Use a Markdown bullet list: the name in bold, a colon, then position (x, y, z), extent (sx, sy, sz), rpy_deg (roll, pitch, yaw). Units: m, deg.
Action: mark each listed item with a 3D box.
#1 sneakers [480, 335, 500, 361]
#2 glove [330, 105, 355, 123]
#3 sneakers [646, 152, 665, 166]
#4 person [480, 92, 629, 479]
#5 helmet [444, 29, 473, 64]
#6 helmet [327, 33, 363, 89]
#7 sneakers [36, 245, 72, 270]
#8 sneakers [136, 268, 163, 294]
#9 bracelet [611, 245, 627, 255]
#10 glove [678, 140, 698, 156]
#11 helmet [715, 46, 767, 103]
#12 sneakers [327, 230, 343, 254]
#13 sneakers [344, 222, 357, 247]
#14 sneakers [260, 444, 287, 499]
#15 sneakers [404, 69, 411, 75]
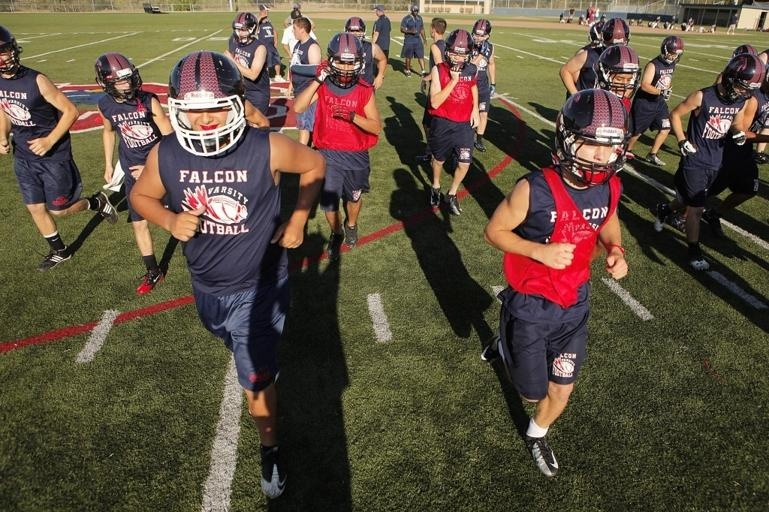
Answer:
- **sneakers**: position (1.156, 1.030, 5.298), extent (0.130, 0.166, 0.373), rpy_deg (3, 4, 13)
- **glove**: position (-0.522, -1.853, 6.297), extent (0.154, 0.184, 0.400), rpy_deg (-18, 36, -30)
- **sneakers**: position (5.606, -2.007, 9.942), extent (0.109, 0.216, 0.304), rpy_deg (-34, 57, -16)
- **person**: position (1.521, 0.249, 4.345), extent (1.049, 3.147, 1.107), rpy_deg (26, 38, 38)
- **helmet**: position (1.114, -3.104, 7.296), extent (0.354, 0.429, 0.526), rpy_deg (2, 76, 3)
- **helmet**: position (-0.499, -2.470, 6.092), extent (0.439, 0.507, 0.651), rpy_deg (-1, 66, -4)
- **sneakers**: position (-4.502, 0.012, 6.608), extent (0.172, 0.212, 0.509), rpy_deg (21, 44, 2)
- **sneakers**: position (-3.032, 0.339, 6.220), extent (0.149, 0.177, 0.425), rpy_deg (33, 46, -16)
- **bracelet**: position (2.212, -0.058, 4.539), extent (0.089, 0.069, 0.096), rpy_deg (-3, 45, 1)
- **glove**: position (4.217, -1.496, 6.720), extent (0.204, 0.093, 0.213), rpy_deg (-19, 59, -15)
- **helmet**: position (4.660, -2.348, 6.315), extent (0.333, 0.587, 0.481), rpy_deg (-23, 37, -35)
- **sneakers**: position (-0.715, -0.170, 6.796), extent (0.131, 0.164, 0.412), rpy_deg (-1, 68, -3)
- **sneakers**: position (-0.494, -0.321, 7.024), extent (0.125, 0.373, 0.150), rpy_deg (-5, 5, -7)
- **sneakers**: position (-1.041, 1.911, 4.377), extent (0.177, 0.213, 0.475), rpy_deg (5, 31, -27)
- **sneakers**: position (0.837, -6.765, 17.556), extent (0.152, 0.183, 0.474), rpy_deg (-1, 39, -8)
